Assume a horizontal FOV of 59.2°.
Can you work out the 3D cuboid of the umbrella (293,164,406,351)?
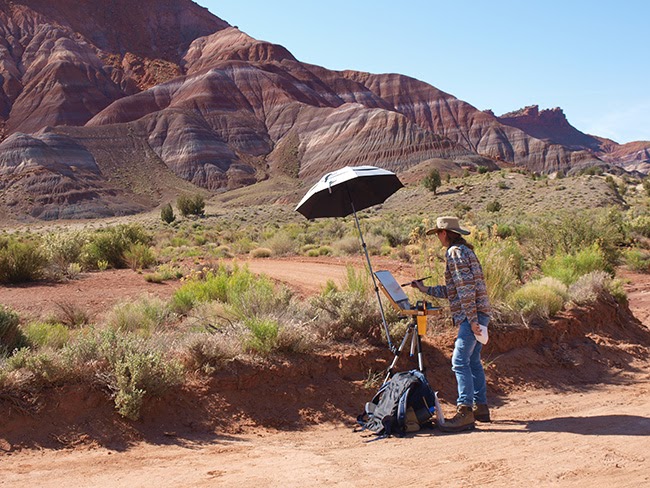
[{"bbox_3d":[0.491,0.007,9.092,1.236,1.886,1.250,-9,15,38],"label":"umbrella"}]

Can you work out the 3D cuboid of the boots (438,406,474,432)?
[{"bbox_3d":[1.769,2.288,7.460,0.576,0.372,0.220,2,-5,-3],"label":"boots"}]

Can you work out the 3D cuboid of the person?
[{"bbox_3d":[1.797,1.071,7.597,0.919,2.814,1.026,0,14,4],"label":"person"}]
